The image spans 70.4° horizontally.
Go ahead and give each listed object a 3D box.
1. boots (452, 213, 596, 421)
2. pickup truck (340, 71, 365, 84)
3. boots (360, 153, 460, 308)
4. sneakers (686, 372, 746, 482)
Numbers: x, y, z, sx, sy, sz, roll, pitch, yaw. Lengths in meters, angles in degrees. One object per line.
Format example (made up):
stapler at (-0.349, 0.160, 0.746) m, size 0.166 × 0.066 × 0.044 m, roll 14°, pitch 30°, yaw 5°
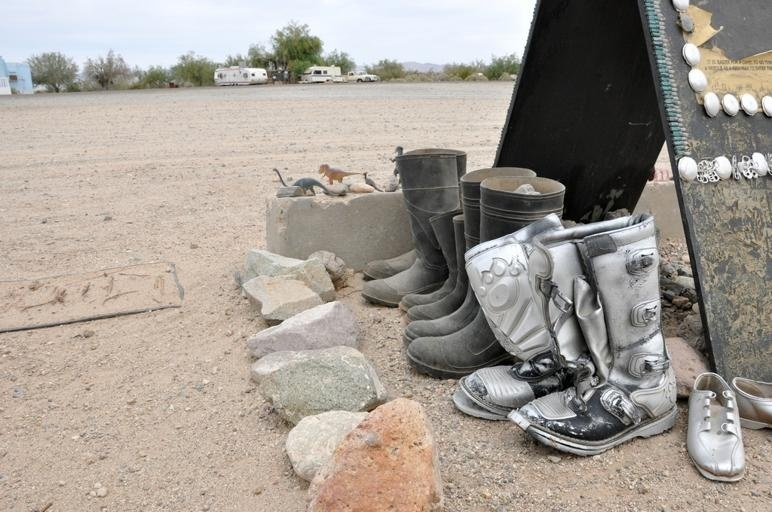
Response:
boots at (0.712, 0.348, 2.850) m, size 0.776 × 0.936 × 0.536 m, roll -3°, pitch 3°, yaw 6°
pickup truck at (-1.933, -11.198, 34.372) m, size 0.991 × 0.798 × 1.671 m, roll 0°, pitch 13°, yaw 4°
boots at (0.192, -0.217, 4.024) m, size 0.718 × 1.072 × 0.590 m, roll -5°, pitch 18°, yaw -7°
sneakers at (1.534, 0.788, 2.573) m, size 0.221 × 0.216 × 0.586 m, roll 4°, pitch 23°, yaw 22°
